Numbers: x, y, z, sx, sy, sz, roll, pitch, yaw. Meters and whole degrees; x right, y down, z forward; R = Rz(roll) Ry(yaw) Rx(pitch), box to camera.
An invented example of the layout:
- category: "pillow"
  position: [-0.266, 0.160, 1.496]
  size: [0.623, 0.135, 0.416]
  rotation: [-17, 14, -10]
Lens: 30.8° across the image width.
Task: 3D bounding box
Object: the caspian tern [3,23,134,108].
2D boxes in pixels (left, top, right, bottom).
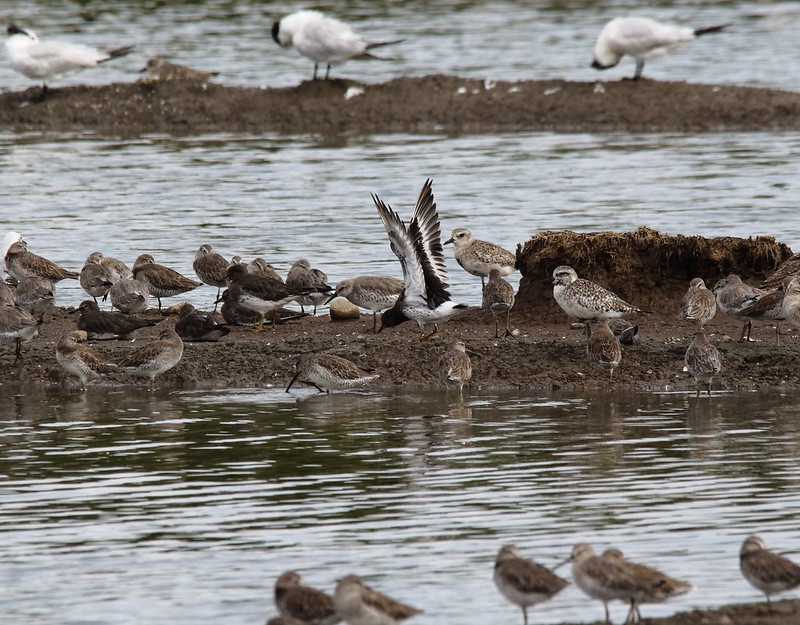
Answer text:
- category: "caspian tern"
  position: [-11.113, -8.241, 46.758]
  size: [3.055, 2.577, 2.744]
  rotation: [-6, 17, -19]
